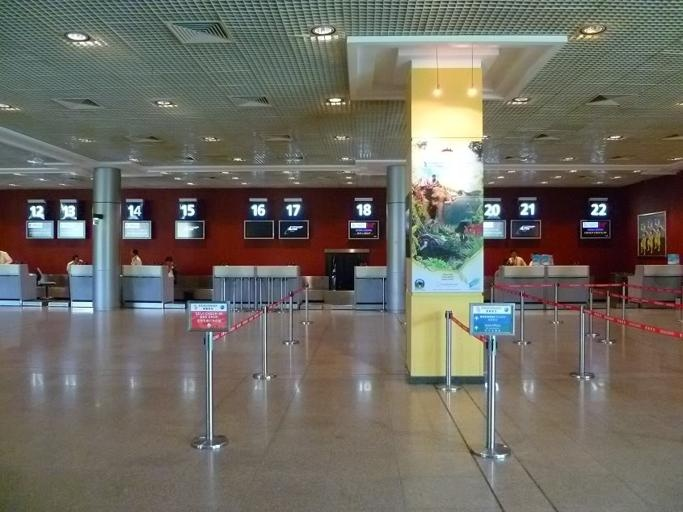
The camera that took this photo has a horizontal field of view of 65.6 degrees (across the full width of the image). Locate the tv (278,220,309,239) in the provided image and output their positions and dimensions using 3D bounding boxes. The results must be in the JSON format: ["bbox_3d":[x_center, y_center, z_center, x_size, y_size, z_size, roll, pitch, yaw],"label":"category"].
[{"bbox_3d":[-1.800,-1.039,19.933,0.902,0.486,0.081,0,-3,1],"label":"tv"}]

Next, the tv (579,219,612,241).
[{"bbox_3d":[9.401,-1.013,19.627,0.955,0.526,0.115,1,1,4],"label":"tv"}]

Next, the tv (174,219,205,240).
[{"bbox_3d":[-5.720,-1.044,20.017,0.938,0.523,0.089,0,4,2],"label":"tv"}]

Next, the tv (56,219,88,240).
[{"bbox_3d":[-10.462,-1.039,20.601,1.051,0.757,0.273,-1,2,10],"label":"tv"}]

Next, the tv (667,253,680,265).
[{"bbox_3d":[10.007,0.065,15.964,0.428,0.392,0.046,3,-14,17],"label":"tv"}]

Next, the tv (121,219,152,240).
[{"bbox_3d":[-7.860,-1.016,20.555,1.563,0.854,0.704,1,-3,-1],"label":"tv"}]
